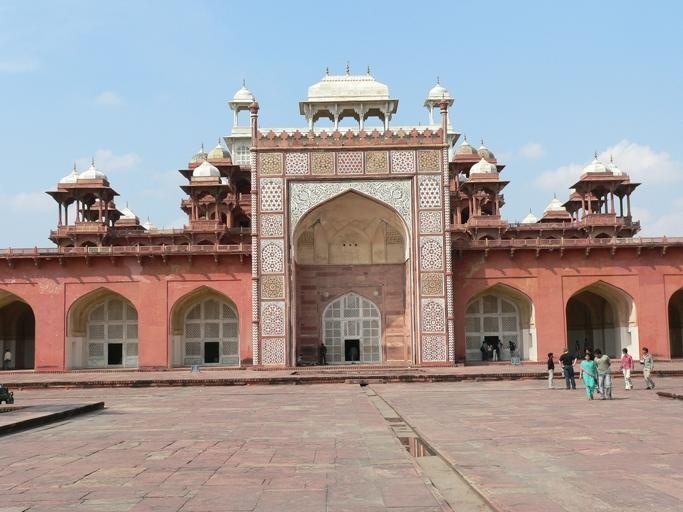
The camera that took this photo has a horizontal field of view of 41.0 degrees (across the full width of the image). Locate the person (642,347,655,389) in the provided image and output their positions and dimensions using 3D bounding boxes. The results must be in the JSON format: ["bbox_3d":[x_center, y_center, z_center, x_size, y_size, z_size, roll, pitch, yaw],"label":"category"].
[{"bbox_3d":[6.443,2.300,19.079,0.230,0.852,1.179,-1,-2,19],"label":"person"}]

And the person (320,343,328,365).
[{"bbox_3d":[-0.602,3.092,29.356,0.241,0.684,0.716,0,-2,-1],"label":"person"}]
